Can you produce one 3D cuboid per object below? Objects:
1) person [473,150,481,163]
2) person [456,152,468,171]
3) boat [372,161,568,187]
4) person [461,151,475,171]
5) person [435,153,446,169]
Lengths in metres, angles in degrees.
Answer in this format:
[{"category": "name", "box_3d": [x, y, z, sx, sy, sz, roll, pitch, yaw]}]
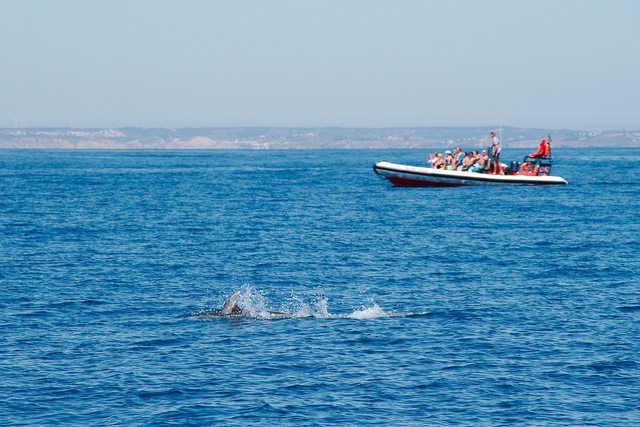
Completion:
[{"category": "person", "box_3d": [11.363, -4.074, 89.066, 0.547, 1.013, 1.345, 1, 11, 7]}, {"category": "person", "box_3d": [10.369, -3.708, 89.758, 1.019, 1.453, 0.987, 7, -21, 13]}, {"category": "boat", "box_3d": [10.064, -2.618, 89.654, 12.083, 2.017, 3.558, 1, 11, 2]}, {"category": "person", "box_3d": [10.886, -3.624, 89.703, 0.498, 1.288, 1.005, 15, -23, 24]}, {"category": "person", "box_3d": [8.767, -3.749, 89.257, 0.680, 0.995, 0.682, 0, 12, 3]}]
